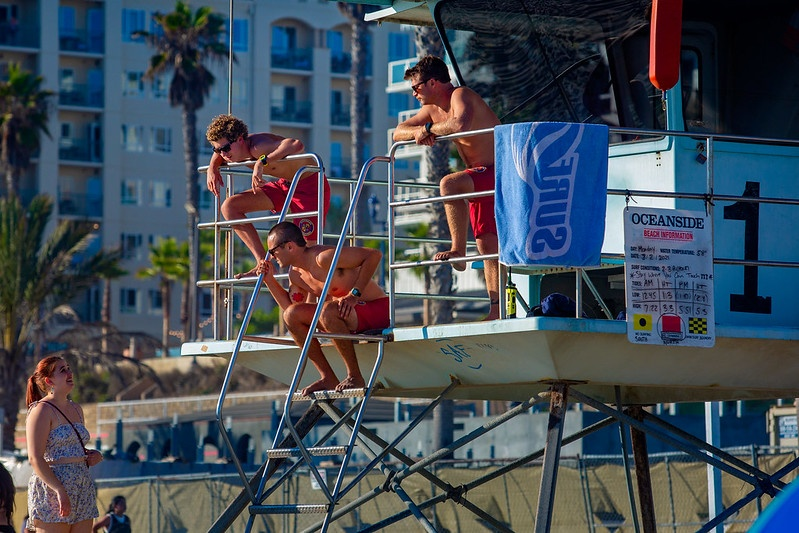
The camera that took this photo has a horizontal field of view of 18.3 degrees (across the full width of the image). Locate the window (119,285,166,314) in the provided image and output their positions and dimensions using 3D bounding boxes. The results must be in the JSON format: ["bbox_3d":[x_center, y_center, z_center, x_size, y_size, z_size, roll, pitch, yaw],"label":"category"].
[{"bbox_3d":[-12.763,1.688,123.447,1.521,0.959,1.593,0,-2,6],"label":"window"}]

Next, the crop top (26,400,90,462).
[{"bbox_3d":[-9.530,4.628,69.591,0.970,1.702,1.309,-21,0,22],"label":"crop top"}]

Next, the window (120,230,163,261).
[{"bbox_3d":[-12.397,-0.960,119.696,1.563,1.036,0.846,3,-6,-39],"label":"window"}]

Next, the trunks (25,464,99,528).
[{"bbox_3d":[-9.417,6.580,70.127,2.492,2.316,1.572,1,-9,-27],"label":"trunks"}]
